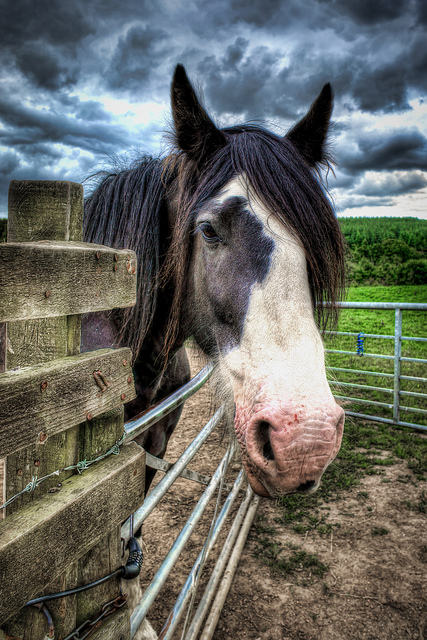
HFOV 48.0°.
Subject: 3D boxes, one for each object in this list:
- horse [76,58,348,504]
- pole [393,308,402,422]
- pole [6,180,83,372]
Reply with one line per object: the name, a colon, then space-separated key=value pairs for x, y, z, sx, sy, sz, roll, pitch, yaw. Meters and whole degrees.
horse: x=-0.273 y=-0.113 z=2.696 sx=0.734 sy=1.563 sz=2.675 roll=-3 pitch=4 yaw=-26
pole: x=2.035 y=0.481 z=5.320 sx=0.070 sy=1.301 sz=0.556 roll=1 pitch=7 yaw=21
pole: x=-0.443 y=-0.108 z=1.194 sx=0.213 sy=0.479 sz=0.204 roll=-2 pitch=7 yaw=-3
